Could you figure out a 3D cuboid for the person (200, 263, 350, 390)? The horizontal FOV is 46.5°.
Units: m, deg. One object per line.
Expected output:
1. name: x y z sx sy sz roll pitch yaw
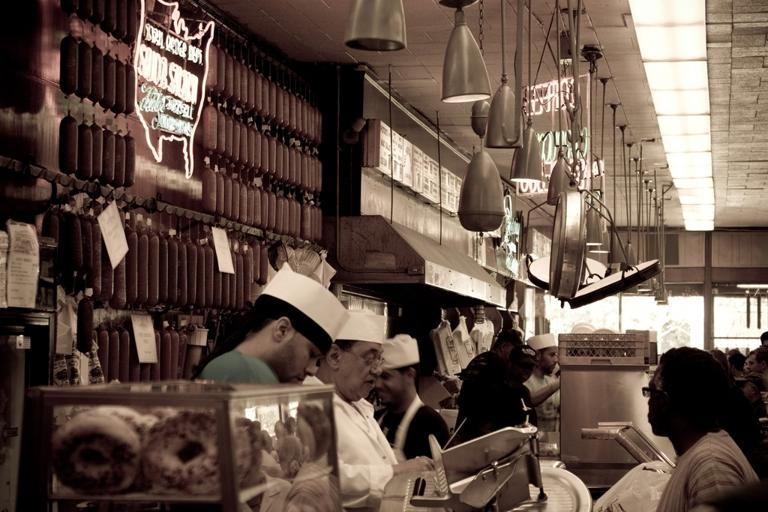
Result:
1. person: -0.506 0.323 4.273 0.718 0.555 0.313 2 -8 -14
